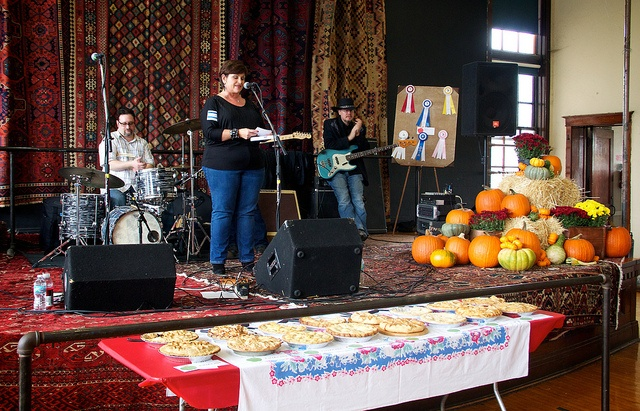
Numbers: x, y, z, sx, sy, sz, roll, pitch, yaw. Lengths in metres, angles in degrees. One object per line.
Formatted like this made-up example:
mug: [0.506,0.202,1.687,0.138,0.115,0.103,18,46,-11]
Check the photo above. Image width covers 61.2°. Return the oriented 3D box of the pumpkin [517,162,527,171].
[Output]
pumpkin: [2.191,-0.438,5.902,0.097,0.036,0.098,10,-18,14]

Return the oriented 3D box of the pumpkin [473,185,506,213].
pumpkin: [1.875,-0.050,5.950,0.307,0.325,0.292,-4,-1,-32]

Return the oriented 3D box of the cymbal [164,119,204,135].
cymbal: [-1.559,-0.913,6.204,0.365,0.164,0.421,-3,6,-45]

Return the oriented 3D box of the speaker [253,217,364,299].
speaker: [-0.081,0.331,4.430,0.671,0.575,0.664,-2,6,-26]

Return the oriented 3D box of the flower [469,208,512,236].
flower: [1.766,0.160,5.676,0.250,0.152,0.270,-3,-1,-31]

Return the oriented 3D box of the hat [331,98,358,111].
hat: [0.328,-1.484,7.886,0.454,0.202,0.526,-3,4,-3]

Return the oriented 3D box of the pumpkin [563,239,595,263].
pumpkin: [2.621,0.429,5.505,0.240,0.220,0.236,-1,6,-21]

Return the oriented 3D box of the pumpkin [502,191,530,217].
pumpkin: [2.048,-0.008,5.664,0.252,0.238,0.253,-10,9,19]

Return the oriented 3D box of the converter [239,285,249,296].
converter: [-0.630,0.695,4.508,0.082,0.083,0.072,2,19,-24]

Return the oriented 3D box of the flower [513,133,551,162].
flower: [2.269,-0.649,5.815,0.375,0.282,0.249,2,4,18]

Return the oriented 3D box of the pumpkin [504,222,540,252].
pumpkin: [2.096,0.344,5.560,0.313,0.311,0.325,-4,3,4]

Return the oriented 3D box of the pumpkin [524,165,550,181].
pumpkin: [2.279,-0.345,5.700,0.169,0.107,0.179,6,1,44]

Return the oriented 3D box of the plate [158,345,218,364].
plate: [-0.753,0.839,3.123,0.339,0.081,0.153,0,4,-10]

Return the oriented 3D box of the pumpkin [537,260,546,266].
pumpkin: [2.244,0.578,5.485,0.075,0.057,0.046,0,4,-18]

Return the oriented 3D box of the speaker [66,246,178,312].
speaker: [-1.566,0.526,4.324,0.836,0.527,0.479,-2,-23,-19]

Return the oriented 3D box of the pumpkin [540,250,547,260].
pumpkin: [2.279,0.493,5.523,0.079,0.098,0.062,2,4,9]

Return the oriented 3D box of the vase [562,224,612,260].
vase: [2.813,0.365,5.633,0.334,0.247,0.342,-2,-3,40]

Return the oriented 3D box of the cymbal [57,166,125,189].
cymbal: [-2.473,-0.311,5.717,0.374,0.087,0.370,4,-29,-19]

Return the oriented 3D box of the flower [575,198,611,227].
flower: [2.909,0.043,5.773,0.297,0.184,0.292,6,12,26]

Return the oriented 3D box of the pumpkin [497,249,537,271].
pumpkin: [1.934,0.506,5.331,0.248,0.142,0.251,-2,-1,26]

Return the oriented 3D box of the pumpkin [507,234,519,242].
pumpkin: [1.923,0.321,5.442,0.106,0.062,0.079,3,4,23]

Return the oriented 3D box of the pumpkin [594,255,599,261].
pumpkin: [2.837,0.536,5.554,0.048,0.027,0.048,-7,5,-5]

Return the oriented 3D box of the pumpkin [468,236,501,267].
pumpkin: [1.716,0.455,5.662,0.390,0.363,0.376,0,16,14]

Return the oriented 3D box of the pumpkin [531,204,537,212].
pumpkin: [2.245,0.027,5.690,0.078,0.074,0.068,4,5,30]

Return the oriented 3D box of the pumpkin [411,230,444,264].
pumpkin: [1.190,0.452,5.942,0.346,0.320,0.367,0,5,45]

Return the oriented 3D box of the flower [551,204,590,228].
flower: [2.653,0.116,5.691,0.439,0.215,0.117,0,4,-10]

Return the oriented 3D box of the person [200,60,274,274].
person: [-0.837,-0.364,5.232,0.614,2.051,0.480,0,4,-13]

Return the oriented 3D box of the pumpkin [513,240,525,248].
pumpkin: [1.974,0.381,5.389,0.117,0.084,0.050,1,4,5]

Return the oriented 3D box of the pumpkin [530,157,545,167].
pumpkin: [2.271,-0.455,5.662,0.099,0.094,0.096,26,-12,-40]

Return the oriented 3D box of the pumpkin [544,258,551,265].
pumpkin: [2.315,0.565,5.501,0.079,0.075,0.053,1,4,0]

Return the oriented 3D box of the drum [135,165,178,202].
drum: [-1.817,-0.247,6.018,0.386,0.280,0.378,0,1,0]

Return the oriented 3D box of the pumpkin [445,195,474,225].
pumpkin: [1.548,0.074,6.003,0.213,0.266,0.197,0,2,-21]

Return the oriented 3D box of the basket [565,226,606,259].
basket: [2.794,0.379,5.669,0.333,0.248,0.336,-1,-2,22]

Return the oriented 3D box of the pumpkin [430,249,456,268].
pumpkin: [1.265,0.545,5.587,0.191,0.185,0.195,-7,-8,32]

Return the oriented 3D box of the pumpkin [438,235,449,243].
pumpkin: [1.348,0.350,5.904,0.079,0.078,0.073,-9,-12,-35]

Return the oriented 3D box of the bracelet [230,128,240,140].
bracelet: [-0.786,-0.672,5.077,0.081,0.102,0.102,5,-9,8]

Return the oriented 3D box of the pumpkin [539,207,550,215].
pumpkin: [2.350,0.061,5.671,0.105,0.077,0.050,2,4,14]

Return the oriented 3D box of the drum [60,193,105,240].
drum: [-2.619,0.123,5.954,0.481,0.519,0.516,1,-4,-2]

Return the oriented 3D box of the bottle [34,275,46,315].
bottle: [-2.181,0.672,4.203,0.090,0.246,0.213,-1,5,-27]
